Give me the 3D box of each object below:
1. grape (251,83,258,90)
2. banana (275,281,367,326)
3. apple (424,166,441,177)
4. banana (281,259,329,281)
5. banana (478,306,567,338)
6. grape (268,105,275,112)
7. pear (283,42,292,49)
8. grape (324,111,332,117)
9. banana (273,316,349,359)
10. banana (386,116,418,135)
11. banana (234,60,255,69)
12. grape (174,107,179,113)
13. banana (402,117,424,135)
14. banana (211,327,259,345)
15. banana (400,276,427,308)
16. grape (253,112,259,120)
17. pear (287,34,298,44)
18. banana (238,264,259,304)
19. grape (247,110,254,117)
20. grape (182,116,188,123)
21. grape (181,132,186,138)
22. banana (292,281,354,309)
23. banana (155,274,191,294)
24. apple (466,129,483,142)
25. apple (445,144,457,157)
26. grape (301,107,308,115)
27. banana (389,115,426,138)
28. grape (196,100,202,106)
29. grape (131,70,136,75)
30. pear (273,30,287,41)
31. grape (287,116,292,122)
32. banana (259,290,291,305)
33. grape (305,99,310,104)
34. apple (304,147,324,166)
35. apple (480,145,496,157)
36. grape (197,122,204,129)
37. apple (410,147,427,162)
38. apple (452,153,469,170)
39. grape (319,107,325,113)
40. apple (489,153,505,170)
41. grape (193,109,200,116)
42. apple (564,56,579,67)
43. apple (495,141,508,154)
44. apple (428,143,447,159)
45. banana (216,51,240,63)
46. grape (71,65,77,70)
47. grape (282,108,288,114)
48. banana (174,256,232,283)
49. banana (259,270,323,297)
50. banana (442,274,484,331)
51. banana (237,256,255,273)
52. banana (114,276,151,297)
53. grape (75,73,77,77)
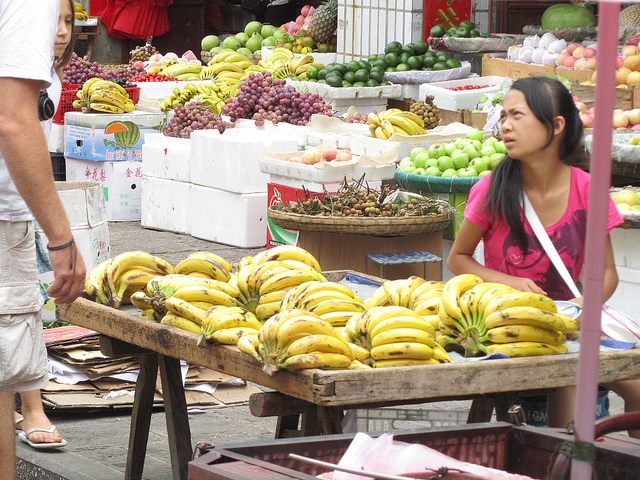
[{"bbox_3d":[-0.837,-1.949,8.819,0.067,0.068,0.081,-20,8,-30],"label":"grape"},{"bbox_3d":[0.014,0.249,2.690,0.243,0.192,0.089,4,-31,-22],"label":"banana"},{"bbox_3d":[0.955,-0.581,5.898,0.090,0.097,0.109,17,-18,42],"label":"apple"},{"bbox_3d":[-0.076,0.120,3.028,0.106,0.040,0.125,34,8,8],"label":"banana"},{"bbox_3d":[0.713,0.293,2.438,0.303,0.129,0.065,-1,12,1],"label":"banana"},{"bbox_3d":[-0.613,-1.641,8.659,0.060,0.070,0.061,19,5,-4],"label":"grape"},{"bbox_3d":[-0.560,-3.353,12.028,0.126,0.130,0.155,15,-2,5],"label":"pear"},{"bbox_3d":[0.091,-1.530,8.400,0.091,0.114,0.055,-2,-6,11],"label":"grape"},{"bbox_3d":[-0.072,0.315,2.231,0.171,0.061,0.215,-11,15,-1],"label":"banana"},{"bbox_3d":[0.808,-1.153,7.024,0.374,0.091,0.102,31,-4,-8],"label":"banana"},{"bbox_3d":[-1.258,-2.878,11.399,0.364,0.101,0.122,-6,19,-29],"label":"banana"},{"bbox_3d":[-1.846,-1.670,8.924,0.040,0.074,0.060,-6,-6,44],"label":"grape"},{"bbox_3d":[0.931,-1.165,7.092,0.095,0.276,0.062,-44,-2,-10],"label":"banana"},{"bbox_3d":[-0.319,0.343,2.491,0.131,0.038,0.070,1,17,-18],"label":"banana"},{"bbox_3d":[0.391,0.207,2.869,0.158,0.050,0.139,-22,5,13],"label":"banana"},{"bbox_3d":[-0.817,-1.541,8.649,0.077,0.079,0.092,10,-4,-29],"label":"grape"},{"bbox_3d":[-0.503,-3.537,12.194,0.186,0.190,0.099,18,-23,-30],"label":"pear"},{"bbox_3d":[-0.318,0.190,2.974,0.084,0.149,0.041,-9,-17,8],"label":"banana"},{"bbox_3d":[-0.896,-1.610,8.872,0.057,0.043,0.075,3,0,0],"label":"grape"},{"bbox_3d":[-1.720,-1.528,8.799,0.108,0.077,0.044,7,14,34],"label":"grape"},{"bbox_3d":[-1.704,-1.306,8.618,0.058,0.054,0.024,2,12,12],"label":"grape"},{"bbox_3d":[0.016,0.211,2.683,0.177,0.112,0.048,-7,1,-26],"label":"banana"},{"bbox_3d":[-0.645,0.177,2.933,0.082,0.030,0.091,9,17,35],"label":"banana"},{"bbox_3d":[1.433,-0.981,6.473,0.127,0.155,0.129,20,30,34],"label":"apple"},{"bbox_3d":[1.133,-0.787,6.106,0.089,0.097,0.097,-2,-7,-16],"label":"apple"},{"bbox_3d":[-0.199,-1.571,8.434,0.099,0.075,0.029,6,14,31],"label":"grape"},{"bbox_3d":[0.866,-1.154,7.103,0.385,0.131,0.225,25,20,8],"label":"banana"},{"bbox_3d":[-1.559,-1.749,8.897,0.082,0.047,0.084,2,14,10],"label":"grape"},{"bbox_3d":[-3.053,-2.751,11.357,0.063,0.062,0.084,1,12,10],"label":"grape"},{"bbox_3d":[-0.727,-3.749,12.662,0.270,0.236,0.233,-8,1,-6],"label":"pear"},{"bbox_3d":[-0.379,-1.483,8.493,0.053,0.065,0.053,7,4,-39],"label":"grape"},{"bbox_3d":[-0.197,0.236,2.822,0.078,0.023,0.063,-27,-13,19],"label":"banana"},{"bbox_3d":[-0.164,-1.686,8.446,0.048,0.042,0.041,7,4,23],"label":"grape"},{"bbox_3d":[-0.059,-0.778,6.497,0.136,0.147,0.188,-1,10,-2],"label":"apple"},{"bbox_3d":[1.445,-0.768,6.005,0.120,0.103,0.105,-6,-23,-5],"label":"apple"},{"bbox_3d":[-1.475,-1.409,8.550,0.077,0.063,0.059,-15,-8,-13],"label":"grape"},{"bbox_3d":[0.893,-0.803,6.341,0.127,0.157,0.130,-1,-22,-17],"label":"apple"},{"bbox_3d":[1.191,-0.673,5.971,0.120,0.124,0.120,11,26,43],"label":"apple"},{"bbox_3d":[0.008,-1.573,8.424,0.046,0.032,0.056,3,32,13],"label":"grape"},{"bbox_3d":[1.493,-0.665,5.898,0.116,0.126,0.353,2,12,15],"label":"apple"},{"bbox_3d":[-1.561,-1.608,8.727,0.066,0.055,0.097,4,-1,-15],"label":"grape"},{"bbox_3d":[2.869,-2.050,7.994,0.132,0.143,0.132,23,24,24],"label":"apple"},{"bbox_3d":[1.572,-0.802,6.073,0.091,0.086,0.357,2,12,14],"label":"apple"},{"bbox_3d":[1.032,-0.801,6.149,0.134,0.133,0.135,-9,-9,-6],"label":"apple"},{"bbox_3d":[-1.608,-3.100,11.645,0.221,0.165,0.289,-1,-2,-2],"label":"banana"},{"bbox_3d":[-3.662,-2.565,10.316,0.058,0.040,0.069,3,9,2],"label":"grape"},{"bbox_3d":[-0.444,-1.596,8.589,0.059,0.033,0.060,-1,24,-23],"label":"grape"},{"bbox_3d":[-0.525,0.127,3.095,0.244,0.100,0.198,-3,12,-10],"label":"banana"},{"bbox_3d":[-0.138,0.165,2.870,0.156,0.046,0.121,-13,24,9],"label":"banana"},{"bbox_3d":[0.493,0.226,2.596,0.068,0.192,0.164,-27,-13,37],"label":"banana"},{"bbox_3d":[-0.346,0.115,3.194,0.045,0.055,0.091,-1,8,8],"label":"banana"},{"bbox_3d":[-0.853,0.219,3.148,0.110,0.033,0.113,5,16,2],"label":"banana"},{"bbox_3d":[-3.632,-2.463,10.322,0.011,0.037,0.030,8,15,36],"label":"grape"}]
